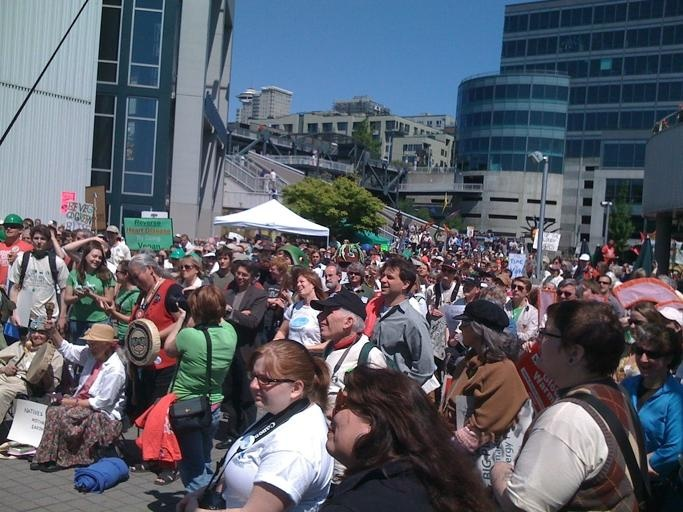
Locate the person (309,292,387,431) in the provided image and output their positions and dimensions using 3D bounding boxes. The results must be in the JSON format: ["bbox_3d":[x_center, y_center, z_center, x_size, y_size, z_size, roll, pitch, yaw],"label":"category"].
[{"bbox_3d":[0.144,1.064,8.545,0.864,1.722,1.075,8,-13,-11],"label":"person"}]

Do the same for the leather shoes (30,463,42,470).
[{"bbox_3d":[-3.547,2.440,9.393,0.114,0.129,0.075,1,1,-2],"label":"leather shoes"}]

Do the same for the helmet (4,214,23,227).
[{"bbox_3d":[-5.363,-0.583,13.207,0.263,0.162,0.328,-1,6,-24],"label":"helmet"}]

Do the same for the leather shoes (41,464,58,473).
[{"bbox_3d":[-3.360,2.443,9.369,0.185,0.092,0.086,6,1,-20],"label":"leather shoes"}]

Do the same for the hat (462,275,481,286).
[{"bbox_3d":[1.887,0.350,11.604,0.221,0.136,0.315,7,2,32],"label":"hat"}]

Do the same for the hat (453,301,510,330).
[{"bbox_3d":[1.393,0.562,7.797,0.359,0.167,0.271,17,-10,15],"label":"hat"}]

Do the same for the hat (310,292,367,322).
[{"bbox_3d":[-0.010,0.481,8.228,0.439,0.247,0.292,19,-4,2],"label":"hat"}]

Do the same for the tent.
[{"bbox_3d":[-2.867,-1.306,31.125,2.886,1.158,3.020,7,0,6],"label":"tent"}]

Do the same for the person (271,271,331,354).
[{"bbox_3d":[-0.458,0.728,9.901,0.712,1.142,0.562,-1,-3,22],"label":"person"}]

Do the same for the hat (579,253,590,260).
[{"bbox_3d":[6.870,0.026,22.814,0.335,0.169,0.529,3,-1,25],"label":"hat"}]

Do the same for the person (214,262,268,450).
[{"bbox_3d":[-1.398,1.170,10.996,0.688,2.235,0.653,1,20,-5],"label":"person"}]

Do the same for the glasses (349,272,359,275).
[{"bbox_3d":[0.223,0.249,12.162,0.123,0.031,0.031,6,1,-19],"label":"glasses"}]

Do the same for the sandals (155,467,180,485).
[{"bbox_3d":[-2.010,2.528,9.332,0.149,0.192,0.421,-1,-10,40],"label":"sandals"}]

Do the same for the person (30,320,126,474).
[{"bbox_3d":[-3.082,1.640,9.741,0.987,1.495,0.817,5,1,-3],"label":"person"}]

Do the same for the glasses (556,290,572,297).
[{"bbox_3d":[2.973,0.496,10.823,0.123,0.094,0.275,5,2,-15],"label":"glasses"}]
